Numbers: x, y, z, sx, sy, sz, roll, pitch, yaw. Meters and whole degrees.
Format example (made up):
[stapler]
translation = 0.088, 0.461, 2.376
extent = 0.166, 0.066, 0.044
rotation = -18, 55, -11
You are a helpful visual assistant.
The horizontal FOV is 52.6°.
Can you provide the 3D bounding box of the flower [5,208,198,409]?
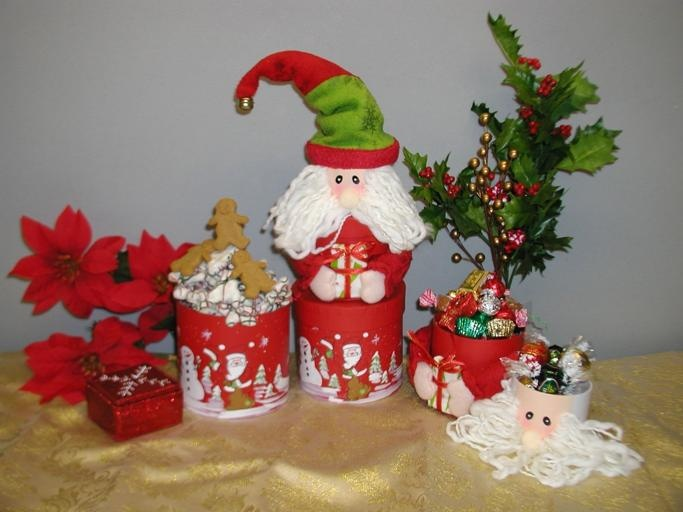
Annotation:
[flower]
translation = -0.837, 0.151, 2.293
extent = 0.624, 0.652, 0.229
rotation = -23, 9, -36
